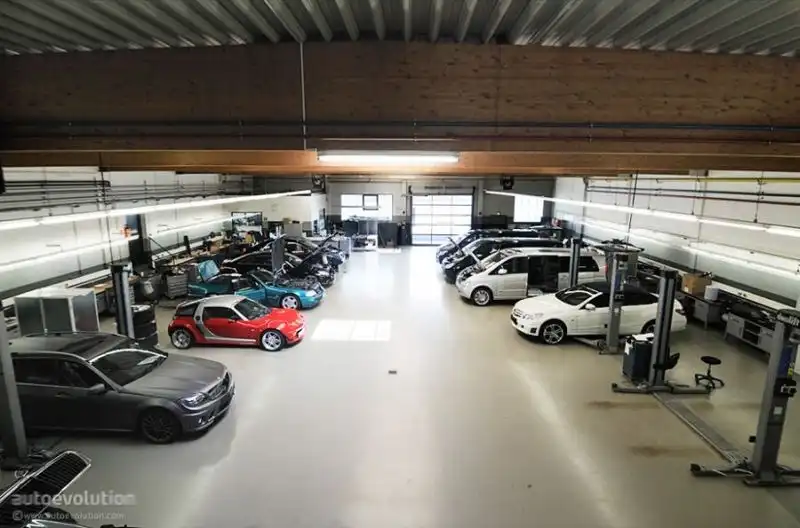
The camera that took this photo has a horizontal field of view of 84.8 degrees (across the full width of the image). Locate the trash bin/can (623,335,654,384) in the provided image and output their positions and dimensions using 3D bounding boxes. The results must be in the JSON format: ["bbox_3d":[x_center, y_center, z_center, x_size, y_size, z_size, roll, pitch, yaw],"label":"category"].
[{"bbox_3d":[5.342,2.223,9.993,0.516,0.921,0.444,5,13,26],"label":"trash bin/can"}]

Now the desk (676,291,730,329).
[{"bbox_3d":[8.642,1.340,12.594,0.425,0.538,1.215,1,9,4],"label":"desk"}]

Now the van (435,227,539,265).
[{"bbox_3d":[3.683,-1.210,20.370,4.586,1.265,1.907,1,5,0],"label":"van"}]

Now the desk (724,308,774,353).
[{"bbox_3d":[9.023,1.801,11.393,0.384,0.853,1.317,-1,10,-2],"label":"desk"}]

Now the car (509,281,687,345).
[{"bbox_3d":[5.310,1.317,12.170,4.453,1.216,1.863,1,7,3],"label":"car"}]

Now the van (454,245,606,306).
[{"bbox_3d":[4.329,0.407,14.961,4.605,1.386,1.992,0,7,0],"label":"van"}]

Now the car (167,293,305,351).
[{"bbox_3d":[-4.203,1.521,11.511,2.958,0.889,1.557,0,12,-3],"label":"car"}]

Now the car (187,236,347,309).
[{"bbox_3d":[-4.452,0.573,14.502,3.968,1.388,2.156,-1,13,-1],"label":"car"}]

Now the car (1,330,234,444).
[{"bbox_3d":[-5.351,2.417,8.570,3.786,1.740,1.221,0,11,3],"label":"car"}]
